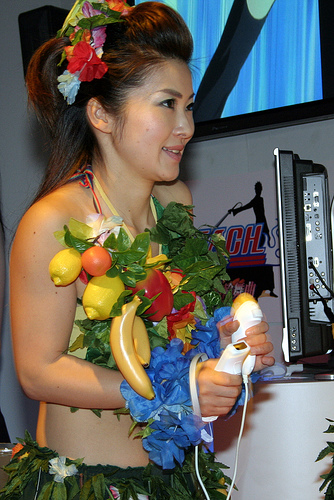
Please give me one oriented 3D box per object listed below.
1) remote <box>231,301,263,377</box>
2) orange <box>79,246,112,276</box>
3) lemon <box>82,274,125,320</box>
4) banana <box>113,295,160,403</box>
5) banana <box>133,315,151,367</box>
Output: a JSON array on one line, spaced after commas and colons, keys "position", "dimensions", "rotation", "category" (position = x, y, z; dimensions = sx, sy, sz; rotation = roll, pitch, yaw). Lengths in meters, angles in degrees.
[{"position": [0.109, 0.115, 0.613], "dimensions": [0.030, 0.098, 0.031], "rotation": [33, -16, -38], "category": "remote"}, {"position": [-0.092, 0.017, 0.589], "dimensions": [0.044, 0.039, 0.039], "rotation": [2, 3, -3], "category": "orange"}, {"position": [-0.083, 0.058, 0.584], "dimensions": [0.045, 0.047, 0.071], "rotation": [-3, 6, -22], "category": "lemon"}, {"position": [-0.042, 0.120, 0.580], "dimensions": [0.051, 0.089, 0.071], "rotation": [1, -1, -6], "category": "banana"}, {"position": [-0.032, 0.120, 0.597], "dimensions": [0.019, 0.064, 0.022], "rotation": [-12, -23, 1], "category": "banana"}]
